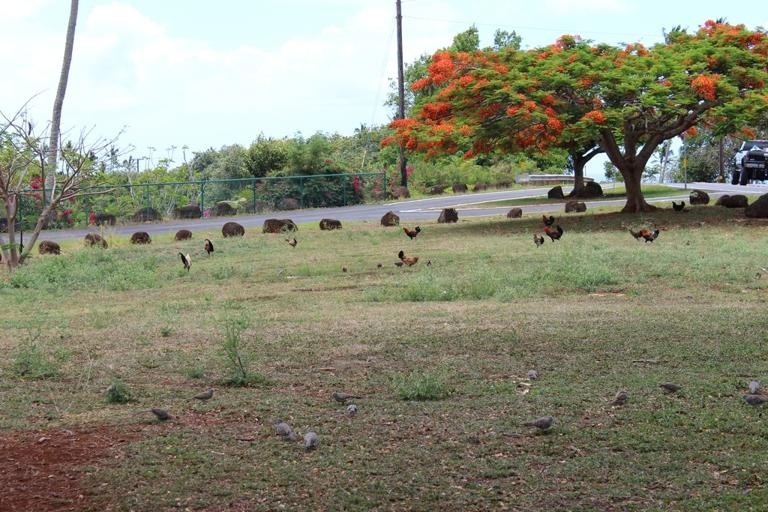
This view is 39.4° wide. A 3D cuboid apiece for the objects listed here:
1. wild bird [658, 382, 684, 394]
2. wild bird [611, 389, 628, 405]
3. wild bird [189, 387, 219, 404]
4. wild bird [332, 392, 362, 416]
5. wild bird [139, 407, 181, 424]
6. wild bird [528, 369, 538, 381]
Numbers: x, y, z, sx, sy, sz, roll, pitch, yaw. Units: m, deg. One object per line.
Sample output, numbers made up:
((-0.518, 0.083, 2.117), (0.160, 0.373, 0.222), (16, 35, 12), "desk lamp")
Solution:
((5.697, 2.643, 21.467), (0.445, 0.185, 0.204), (1, 12, 18), "wild bird")
((4.646, 2.796, 21.286), (0.313, 0.303, 0.355), (0, 11, 16), "wild bird")
((-3.636, 2.790, 21.745), (0.406, 0.239, 0.492), (-3, 11, -2), "wild bird")
((-0.763, 2.955, 21.519), (0.543, 0.355, 0.633), (-3, 11, -2), "wild bird")
((-4.401, 3.131, 21.033), (0.648, 0.205, 0.250), (12, -8, -38), "wild bird")
((3.068, 2.458, 22.232), (0.231, 0.188, 0.311), (-2, 11, 7), "wild bird")
